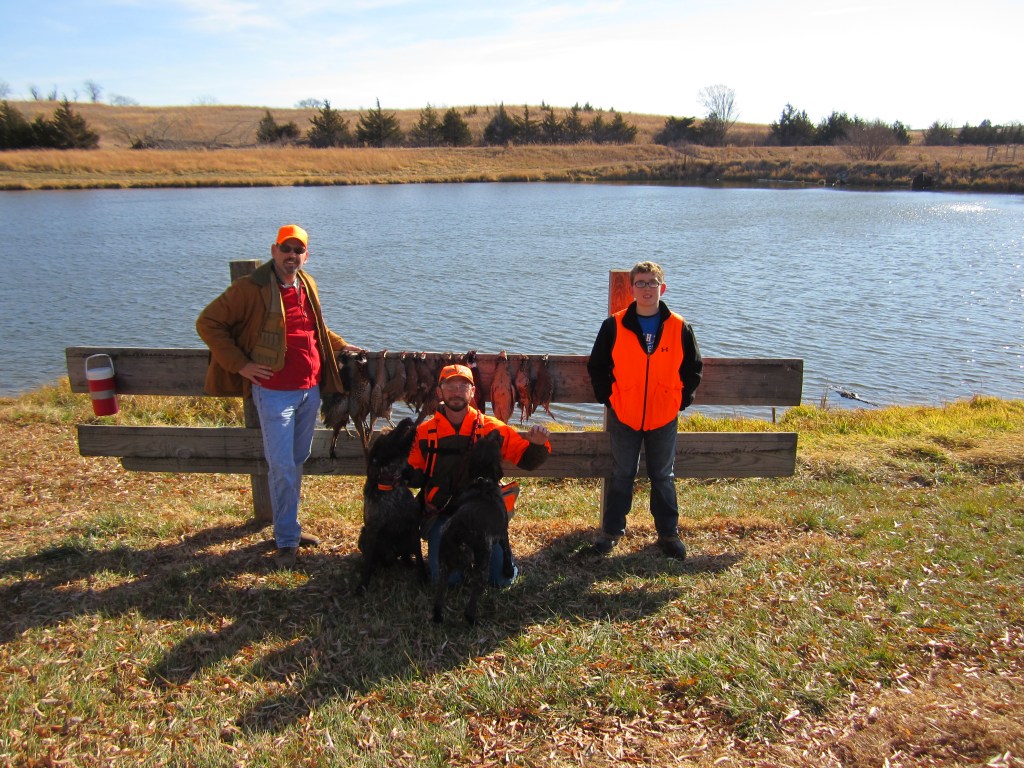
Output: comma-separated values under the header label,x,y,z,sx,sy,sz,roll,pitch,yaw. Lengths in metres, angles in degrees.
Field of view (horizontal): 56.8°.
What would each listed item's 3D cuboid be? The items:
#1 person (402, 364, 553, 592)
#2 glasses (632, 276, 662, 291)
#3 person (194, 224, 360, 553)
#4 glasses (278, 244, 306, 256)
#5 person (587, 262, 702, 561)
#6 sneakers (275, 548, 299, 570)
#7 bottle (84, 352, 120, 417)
label,x,y,z,sx,sy,sz,roll,pitch,yaw
person,-0.327,0.767,8.008,1.105,1.869,0.760,-2,12,-7
glasses,1.189,-0.889,8.339,0.153,0.100,0.187,1,3,0
person,-2.100,0.045,8.472,1.220,2.871,0.620,-5,13,-21
glasses,-1.904,-1.180,8.248,0.077,0.102,0.244,11,16,42
person,1.190,0.244,8.530,0.992,2.649,0.395,1,13,5
sneakers,-2.022,1.562,8.488,0.183,0.172,0.178,-1,-7,2
bottle,-3.925,0.020,9.053,0.276,0.640,0.359,-6,14,-24
